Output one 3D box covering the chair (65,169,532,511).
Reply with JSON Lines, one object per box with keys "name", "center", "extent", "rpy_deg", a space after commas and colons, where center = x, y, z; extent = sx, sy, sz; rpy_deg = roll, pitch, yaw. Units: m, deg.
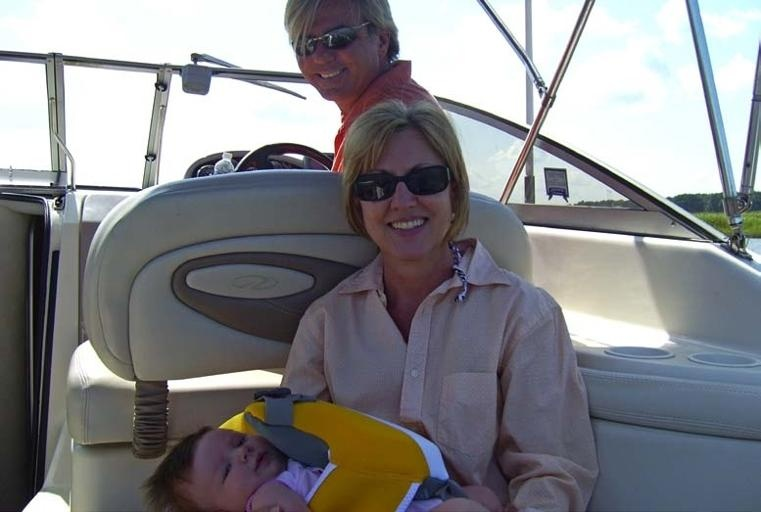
{"name": "chair", "center": [-0.398, 0.139, 2.731], "extent": [1.778, 1.842, 1.098], "rpy_deg": [-2, 9, -9]}
